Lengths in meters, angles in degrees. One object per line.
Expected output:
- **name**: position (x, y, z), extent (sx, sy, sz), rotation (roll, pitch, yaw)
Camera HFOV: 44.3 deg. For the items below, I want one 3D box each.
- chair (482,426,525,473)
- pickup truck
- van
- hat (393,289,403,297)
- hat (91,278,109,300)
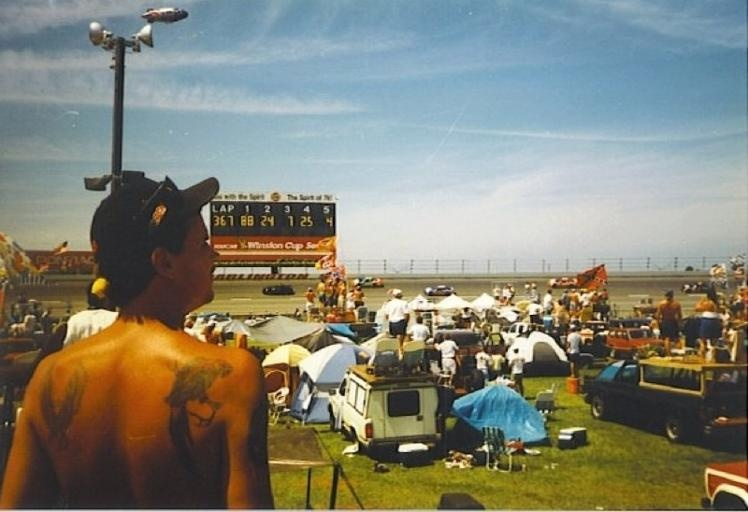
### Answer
- **chair**: position (2.859, 4.186, 20.083), extent (0.831, 0.975, 0.870), rotation (-11, -14, 31)
- **pickup truck**: position (6.872, 3.208, 20.636), extent (1.500, 0.940, 2.528), rotation (2, 1, -27)
- **van**: position (0.216, 3.275, 20.612), extent (1.576, 1.230, 2.445), rotation (0, 5, -16)
- **hat**: position (0.700, 1.057, 25.696), extent (0.236, 0.231, 0.268), rotation (3, 9, 6)
- **hat**: position (-4.003, 0.462, 13.403), extent (0.236, 0.227, 0.321), rotation (-18, 3, -26)
